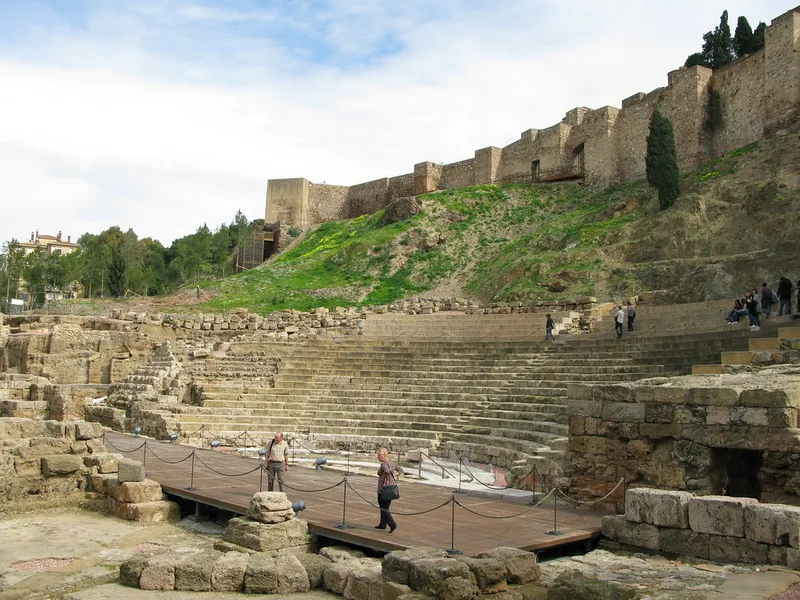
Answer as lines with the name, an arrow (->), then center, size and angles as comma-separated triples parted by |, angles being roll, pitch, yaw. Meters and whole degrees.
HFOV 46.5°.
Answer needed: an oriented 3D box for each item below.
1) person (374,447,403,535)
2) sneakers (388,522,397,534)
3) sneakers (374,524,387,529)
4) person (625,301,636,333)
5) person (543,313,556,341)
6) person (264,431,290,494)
person -> -0.241, 4.009, 19.964 | 0.453, 1.696, 1.032 | 3, -4, 0
sneakers -> -0.139, 4.761, 19.537 | 0.172, 0.220, 0.097 | 12, 11, -3
sneakers -> -0.394, 4.773, 19.686 | 0.235, 0.077, 0.223 | 2, -4, -4
person -> 8.178, 0.638, 32.826 | 0.279, 1.067, 1.162 | 2, -4, 11
person -> 5.624, 1.039, 34.697 | 0.358, 1.007, 1.638 | 2, -4, 10
person -> -2.877, 3.758, 21.800 | 0.484, 1.369, 0.803 | 3, -4, -8
